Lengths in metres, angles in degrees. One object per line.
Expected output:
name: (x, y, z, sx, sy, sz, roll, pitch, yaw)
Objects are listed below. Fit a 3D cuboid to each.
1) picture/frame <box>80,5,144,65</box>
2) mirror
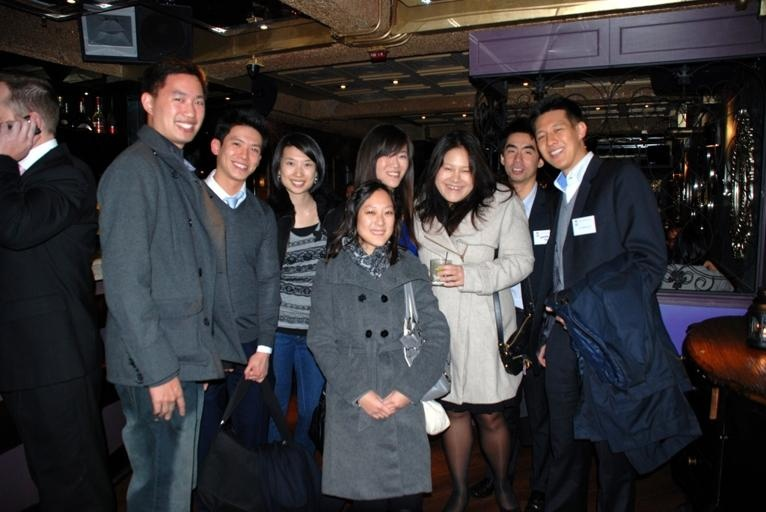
picture/frame: (-2.865, -2.360, 5.936, 0.583, 0.598, 0.042, -3, 8, -9)
mirror: (3.599, -0.740, 5.661, 0.201, 1.579, 1.024, 3, 7, 28)
